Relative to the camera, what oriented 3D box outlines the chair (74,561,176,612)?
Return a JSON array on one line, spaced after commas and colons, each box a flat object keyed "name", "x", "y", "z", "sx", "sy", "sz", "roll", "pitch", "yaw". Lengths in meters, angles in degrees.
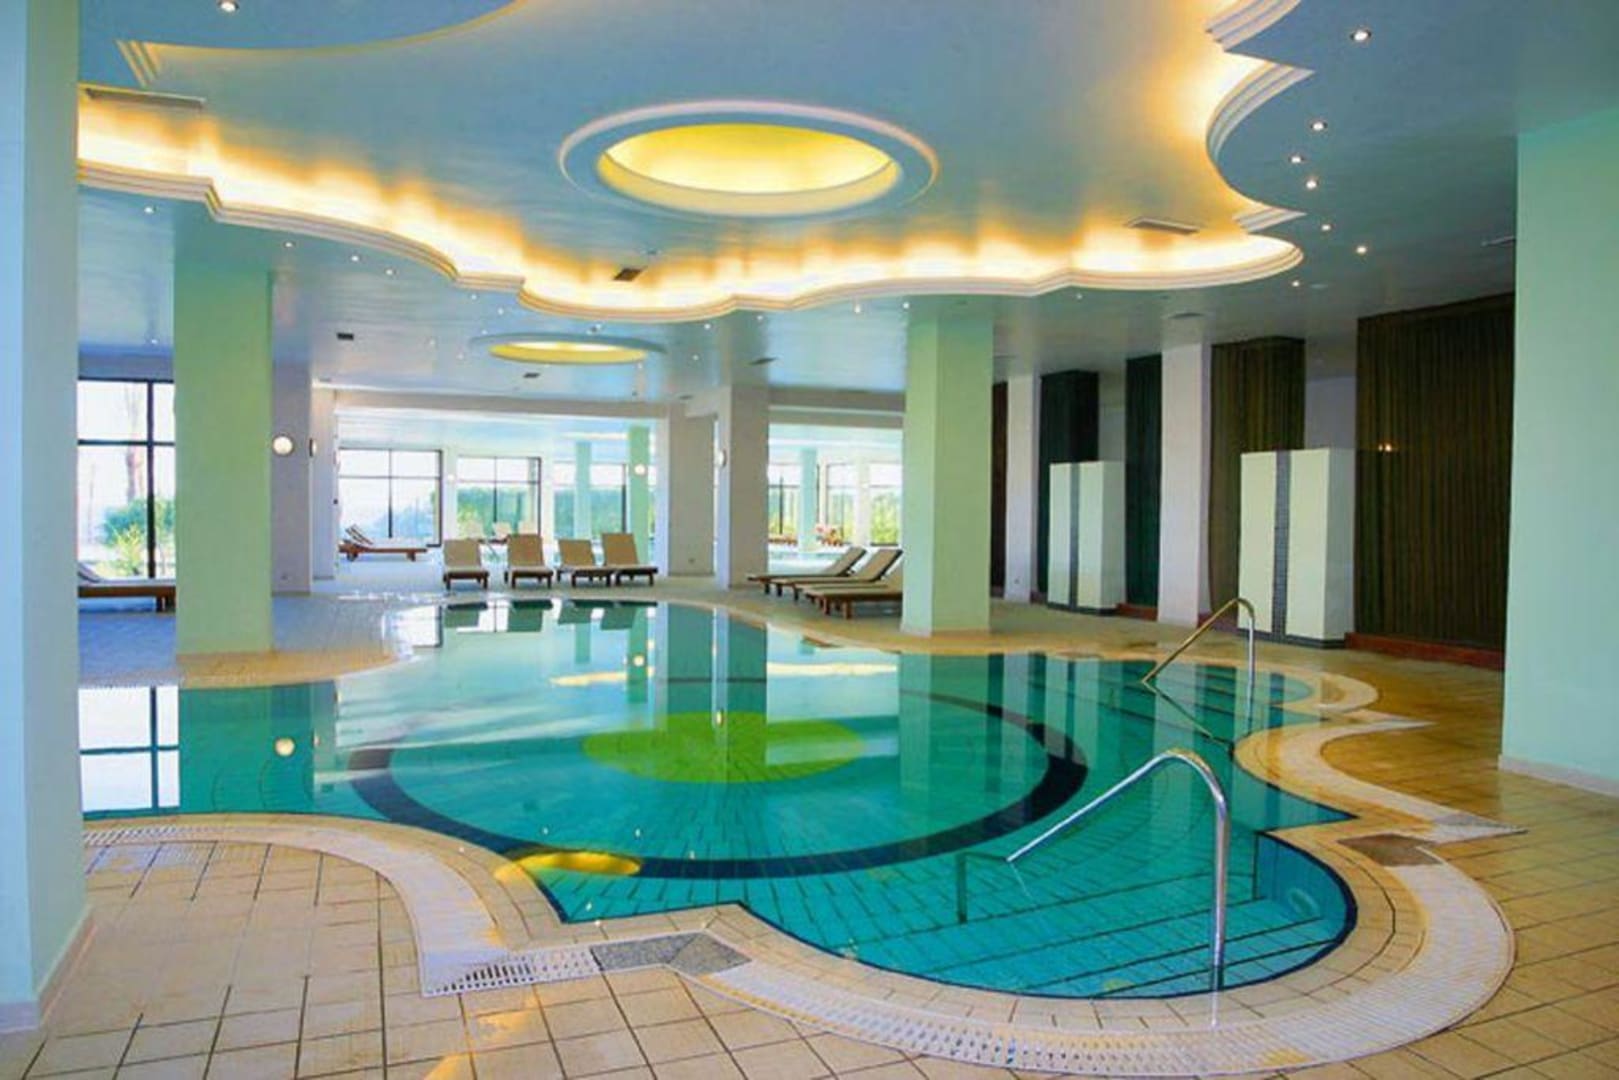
[{"name": "chair", "x": -10.611, "y": 0.735, "z": 16.280, "sx": 1.721, "sy": 0.637, "sz": 1.016, "roll": -1, "pitch": 4, "yaw": -23}]
